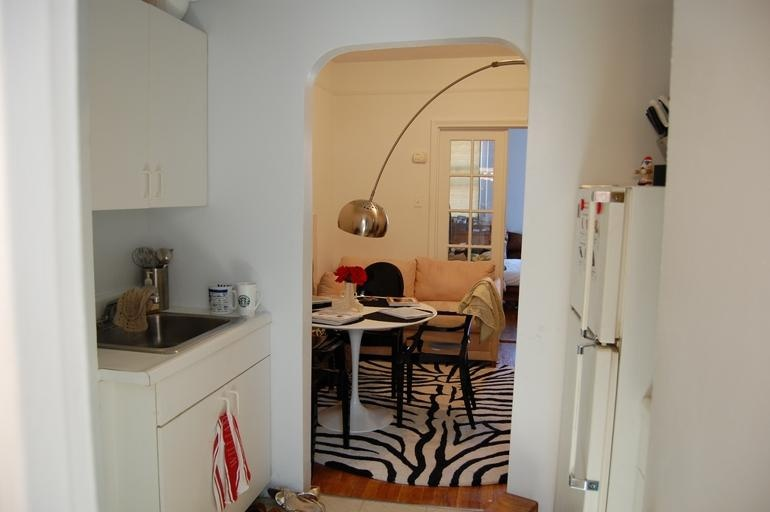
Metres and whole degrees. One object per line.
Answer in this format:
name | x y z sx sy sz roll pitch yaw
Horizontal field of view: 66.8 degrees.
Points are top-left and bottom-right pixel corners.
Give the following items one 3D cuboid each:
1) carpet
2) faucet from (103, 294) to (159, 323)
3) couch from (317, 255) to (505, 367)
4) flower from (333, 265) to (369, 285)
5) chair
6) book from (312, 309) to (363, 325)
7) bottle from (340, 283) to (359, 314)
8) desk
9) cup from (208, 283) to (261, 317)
carpet | 0.266 1.108 4.096 1.202 0.087 1.785 4 9 13
faucet | -1.256 0.225 2.831 0.145 0.084 0.198 0 10 0
couch | 0.254 0.535 5.817 1.790 0.877 0.783 0 9 20
flower | -0.220 0.132 3.998 0.154 0.091 0.156 1 -3 -15
chair | 0.261 0.610 4.742 1.230 1.836 1.102 1 -1 -3
book | -0.302 0.390 3.750 0.315 0.050 0.294 2 9 -1
bottle | -0.242 0.297 4.067 0.192 0.211 0.185 3 3 4
desk | -0.099 0.733 3.989 0.798 0.608 0.797 0 1 -30
cup | -0.766 0.222 2.946 0.242 0.167 0.137 0 2 5
